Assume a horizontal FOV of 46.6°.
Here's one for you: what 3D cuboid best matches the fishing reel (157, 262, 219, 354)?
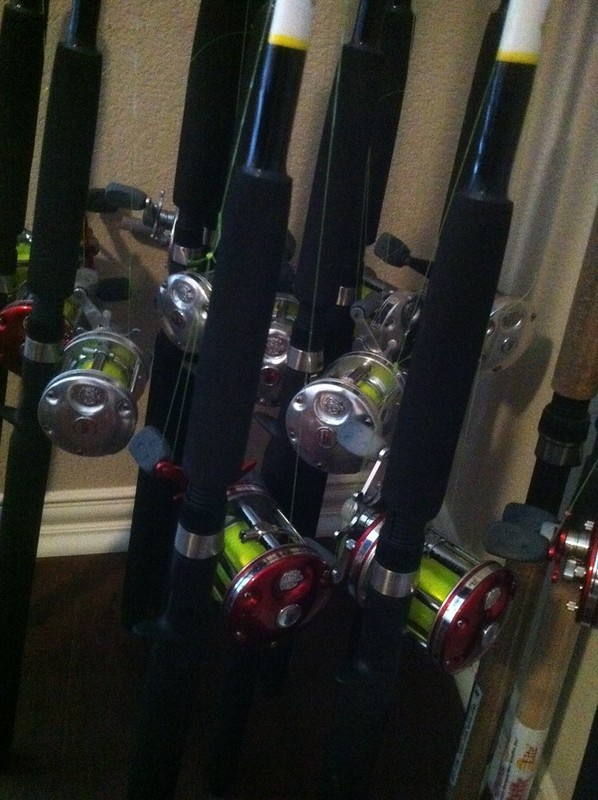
[{"bbox_3d":[-0.081,-0.069,0.495,0.014,0.048,0.051,-27,81,-38],"label":"fishing reel"}]

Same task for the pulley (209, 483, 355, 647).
[{"bbox_3d":[-0.020,0.118,0.584,0.074,0.077,0.135,11,24,-32],"label":"pulley"}]

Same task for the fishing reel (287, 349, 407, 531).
[{"bbox_3d":[0.048,0.017,0.606,0.124,0.128,0.138,14,13,21],"label":"fishing reel"}]

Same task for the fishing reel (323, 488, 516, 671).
[{"bbox_3d":[0.107,0.159,0.647,0.094,0.111,0.163,-15,32,-41],"label":"fishing reel"}]

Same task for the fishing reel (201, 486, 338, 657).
[{"bbox_3d":[-0.030,0.134,0.597,0.074,0.071,0.132,23,18,-32],"label":"fishing reel"}]

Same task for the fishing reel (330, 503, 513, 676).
[{"bbox_3d":[0.104,0.166,0.648,0.089,0.110,0.167,-13,29,-41],"label":"fishing reel"}]

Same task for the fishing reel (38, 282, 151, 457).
[{"bbox_3d":[-0.183,-0.034,0.607,0.080,0.088,0.168,0,44,-24],"label":"fishing reel"}]
